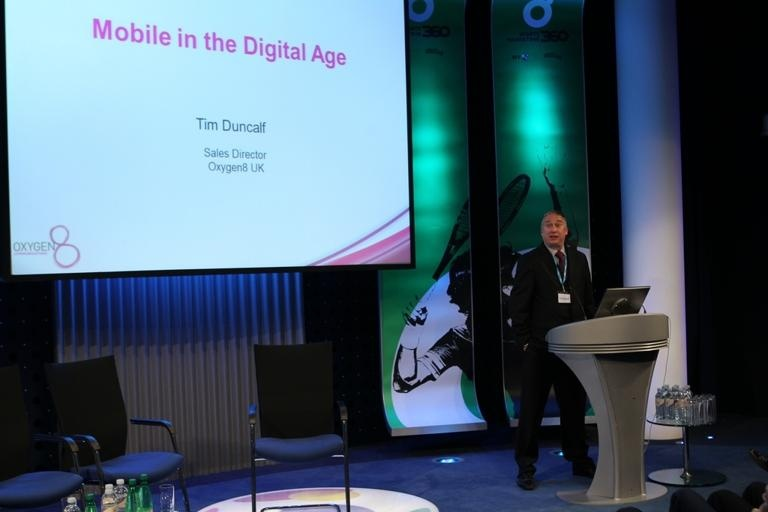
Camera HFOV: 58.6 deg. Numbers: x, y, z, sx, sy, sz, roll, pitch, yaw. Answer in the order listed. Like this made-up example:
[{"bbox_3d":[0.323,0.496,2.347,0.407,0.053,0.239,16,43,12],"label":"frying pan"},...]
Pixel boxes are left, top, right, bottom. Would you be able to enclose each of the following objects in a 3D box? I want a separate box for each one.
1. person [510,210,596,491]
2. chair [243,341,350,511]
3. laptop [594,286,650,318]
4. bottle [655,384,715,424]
[{"bbox_3d":[1.403,0.750,5.645,0.707,2.201,0.514,-2,6,-1],"label":"person"},{"bbox_3d":[-0.720,1.346,5.543,0.790,1.241,1.392,-2,6,-7],"label":"chair"},{"bbox_3d":[1.754,0.318,5.096,0.308,0.248,0.241,3,21,-21],"label":"laptop"},{"bbox_3d":[2.475,1.207,5.600,0.378,0.274,0.308,-1,-5,14],"label":"bottle"}]
